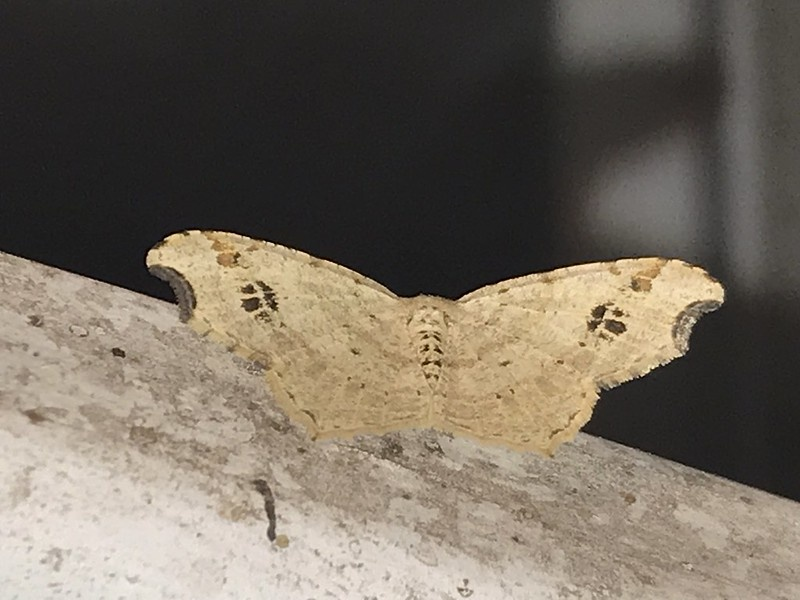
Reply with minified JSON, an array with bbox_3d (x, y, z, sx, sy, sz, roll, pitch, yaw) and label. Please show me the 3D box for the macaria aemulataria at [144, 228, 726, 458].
[{"bbox_3d":[0.113,0.064,5.788,2.427,0.161,0.747,2,102,0],"label":"macaria aemulataria"}]
